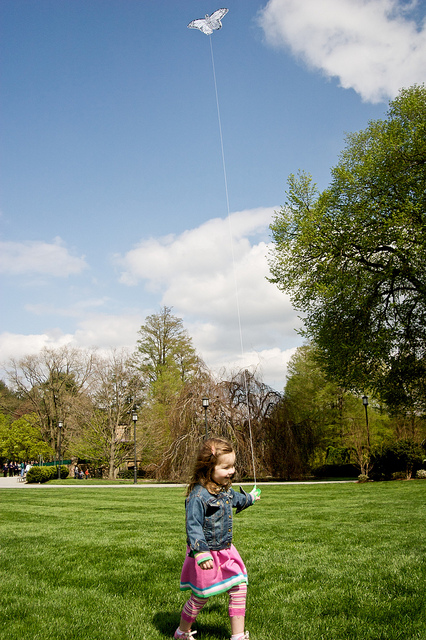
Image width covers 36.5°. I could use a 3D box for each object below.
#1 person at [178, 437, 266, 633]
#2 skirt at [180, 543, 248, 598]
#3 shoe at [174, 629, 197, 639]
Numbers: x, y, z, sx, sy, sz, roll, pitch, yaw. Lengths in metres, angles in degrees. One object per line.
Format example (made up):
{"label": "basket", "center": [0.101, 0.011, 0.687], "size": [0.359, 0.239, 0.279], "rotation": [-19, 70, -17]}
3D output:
{"label": "person", "center": [-0.015, 1.619, 4.824], "size": [0.472, 1.384, 0.518], "rotation": [0, -11, -15]}
{"label": "skirt", "center": [-0.006, 1.882, 4.805], "size": [0.537, 0.477, 0.388], "rotation": [-2, -33, -10]}
{"label": "shoe", "center": [-0.202, 2.353, 4.792], "size": [0.156, 0.071, 0.114], "rotation": [-1, -11, -11]}
